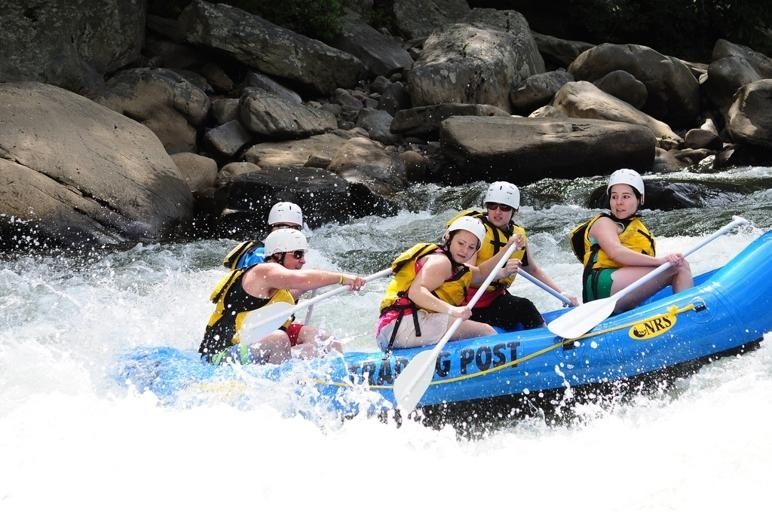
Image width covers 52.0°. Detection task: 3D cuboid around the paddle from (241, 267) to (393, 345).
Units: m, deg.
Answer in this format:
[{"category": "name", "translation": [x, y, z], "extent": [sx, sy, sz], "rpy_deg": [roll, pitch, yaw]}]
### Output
[{"category": "paddle", "translation": [-0.763, 0.570, 8.458], "extent": [1.903, 0.129, 0.320], "rpy_deg": [-23, 79, -18]}]

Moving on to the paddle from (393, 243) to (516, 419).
[{"category": "paddle", "translation": [0.641, 0.776, 7.717], "extent": [0.409, 0.102, 2.293], "rpy_deg": [37, 77, 14]}]

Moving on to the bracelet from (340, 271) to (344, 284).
[{"category": "bracelet", "translation": [-0.452, 0.239, 8.081], "extent": [0.029, 0.072, 0.076], "rpy_deg": [4, 89, -7]}]

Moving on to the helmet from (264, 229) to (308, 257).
[{"category": "helmet", "translation": [-1.018, -0.110, 8.112], "extent": [0.353, 0.277, 0.283], "rpy_deg": [-9, 93, 19]}]

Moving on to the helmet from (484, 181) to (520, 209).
[{"category": "helmet", "translation": [1.246, -0.659, 8.406], "extent": [0.343, 0.323, 0.353], "rpy_deg": [11, 65, 8]}]

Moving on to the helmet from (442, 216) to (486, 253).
[{"category": "helmet", "translation": [0.774, -0.184, 7.895], "extent": [0.275, 0.327, 0.387], "rpy_deg": [16, 97, -1]}]

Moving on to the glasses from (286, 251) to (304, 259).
[{"category": "glasses", "translation": [-0.908, 0.005, 8.039], "extent": [0.109, 0.106, 0.045], "rpy_deg": [-2, 85, 31]}]

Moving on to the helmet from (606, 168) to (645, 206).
[{"category": "helmet", "translation": [2.522, -0.693, 8.308], "extent": [0.366, 0.492, 0.370], "rpy_deg": [7, 93, 12]}]

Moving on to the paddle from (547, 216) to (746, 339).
[{"category": "paddle", "translation": [2.732, 0.263, 8.289], "extent": [2.099, 0.107, 0.340], "rpy_deg": [-32, 43, -6]}]
